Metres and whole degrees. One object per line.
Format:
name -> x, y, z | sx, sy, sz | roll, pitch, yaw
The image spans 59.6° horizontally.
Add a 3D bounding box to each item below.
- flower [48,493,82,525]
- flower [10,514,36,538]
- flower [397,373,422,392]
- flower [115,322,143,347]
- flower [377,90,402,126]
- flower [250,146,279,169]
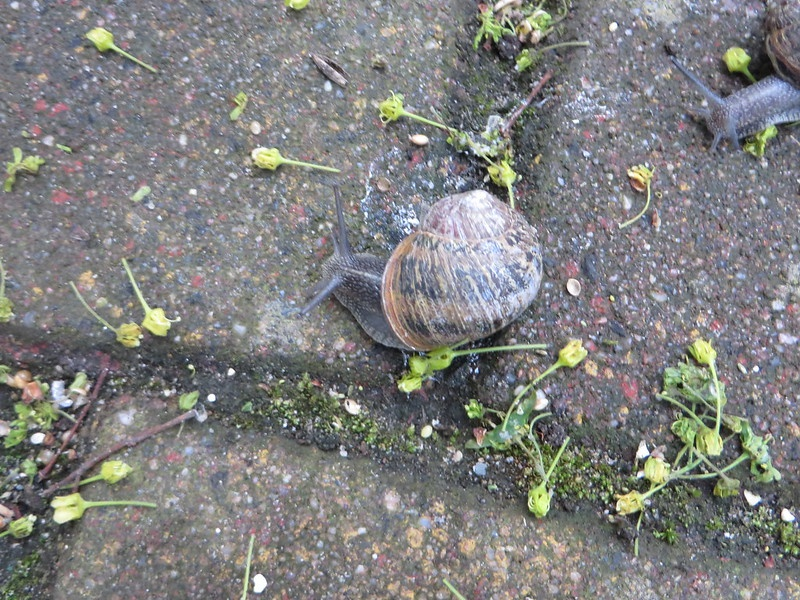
flower -> -1.619, 1.014, 3.401 | 0.191, 0.142, 0.122 | -12, 76, -8
flower -> -1.846, 1.098, 3.418 | 0.127, 0.064, 0.074 | -28, 75, 15
flower -> 0.052, 0.429, 3.583 | 0.109, 0.063, 0.085 | -17, 70, 13
flower -> -1.381, 0.180, 3.549 | 0.130, 0.105, 0.106 | -2, 75, -5
flower -> -0.056, -1.031, 3.732 | 0.124, 0.112, 0.148 | -10, 76, -8
flower -> -0.711, -0.740, 3.664 | 0.171, 0.097, 0.101 | 7, 74, -3
